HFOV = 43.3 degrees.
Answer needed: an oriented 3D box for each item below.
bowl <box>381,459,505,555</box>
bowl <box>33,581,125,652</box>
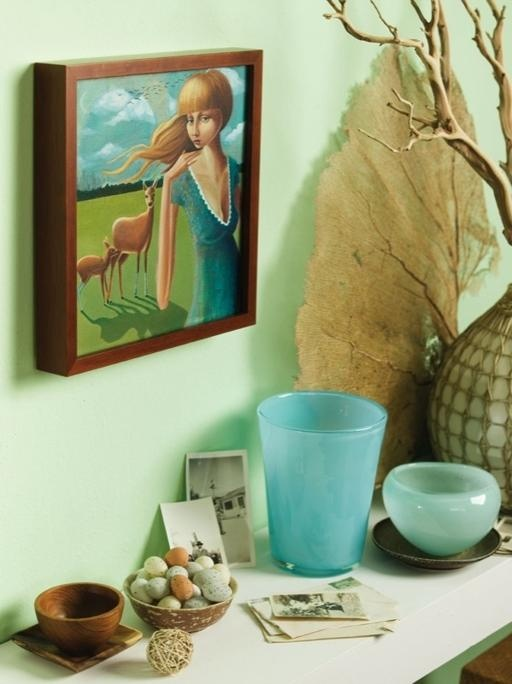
[{"bbox_3d":[0.212,0.167,0.728,0.112,0.074,0.111,0,0,0],"label":"bowl"},{"bbox_3d":[-0.142,0.208,0.515,0.057,0.032,0.057,1,4,0],"label":"bowl"}]
